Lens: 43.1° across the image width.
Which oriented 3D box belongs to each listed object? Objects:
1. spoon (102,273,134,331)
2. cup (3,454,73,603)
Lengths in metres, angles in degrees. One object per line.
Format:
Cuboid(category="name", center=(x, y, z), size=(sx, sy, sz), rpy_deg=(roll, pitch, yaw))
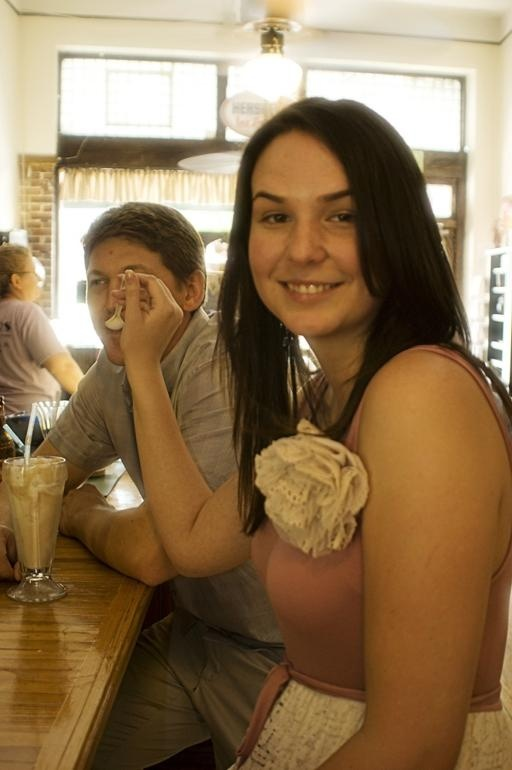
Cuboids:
Cuboid(category="spoon", center=(-0.280, -0.166, 1.293), size=(0.059, 0.149, 0.034), rpy_deg=(9, 18, 12))
Cuboid(category="cup", center=(-0.326, 0.209, 1.004), size=(0.087, 0.210, 0.156), rpy_deg=(1, 1, 5))
